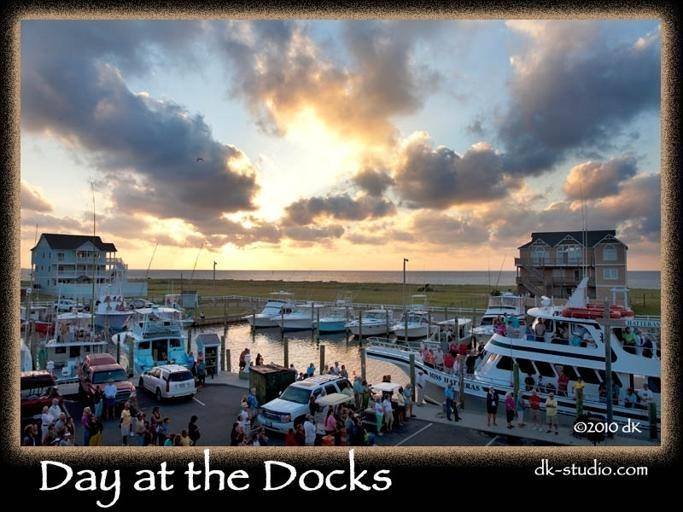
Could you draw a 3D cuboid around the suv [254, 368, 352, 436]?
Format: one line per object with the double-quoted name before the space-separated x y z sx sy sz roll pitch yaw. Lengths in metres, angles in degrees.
"suv" -1.561 6.672 23.650 2.228 2.030 4.692 -2 -1 40
